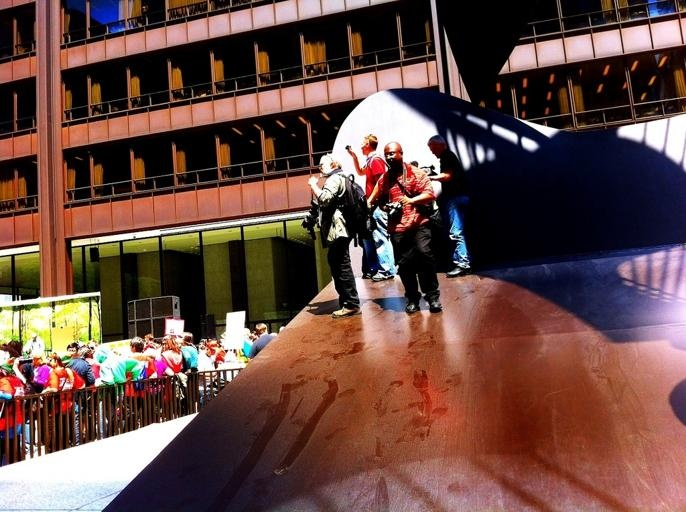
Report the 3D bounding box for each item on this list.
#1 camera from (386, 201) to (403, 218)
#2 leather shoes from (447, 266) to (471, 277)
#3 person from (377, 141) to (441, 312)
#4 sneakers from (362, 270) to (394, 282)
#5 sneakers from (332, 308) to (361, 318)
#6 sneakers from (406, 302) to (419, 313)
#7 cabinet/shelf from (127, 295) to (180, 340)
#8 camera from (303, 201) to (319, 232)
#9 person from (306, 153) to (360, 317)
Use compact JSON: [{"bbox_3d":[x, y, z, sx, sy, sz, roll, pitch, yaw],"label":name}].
[{"bbox_3d":[0.627,-0.569,6.517,0.179,0.176,0.292,9,4,-1],"label":"camera"},{"bbox_3d":[1.921,0.280,8.668,0.406,0.199,0.158,-2,-2,-21],"label":"leather shoes"},{"bbox_3d":[0.745,-0.350,6.558,0.783,2.217,0.722,-7,1,10],"label":"person"},{"bbox_3d":[0.619,0.373,9.046,0.491,0.254,0.183,3,-6,12],"label":"sneakers"},{"bbox_3d":[0.042,0.772,6.968,0.341,0.175,0.153,3,-7,-5],"label":"sneakers"},{"bbox_3d":[0.897,0.684,6.709,0.092,0.116,0.164,-8,-17,25],"label":"sneakers"},{"bbox_3d":[-6.396,2.158,17.571,1.564,1.626,0.594,-5,-10,17],"label":"cabinet/shelf"},{"bbox_3d":[-0.382,-0.523,7.032,0.140,0.370,0.340,10,6,-27],"label":"camera"},{"bbox_3d":[-0.155,-0.287,6.903,0.608,2.113,0.596,-6,-1,-8],"label":"person"}]
